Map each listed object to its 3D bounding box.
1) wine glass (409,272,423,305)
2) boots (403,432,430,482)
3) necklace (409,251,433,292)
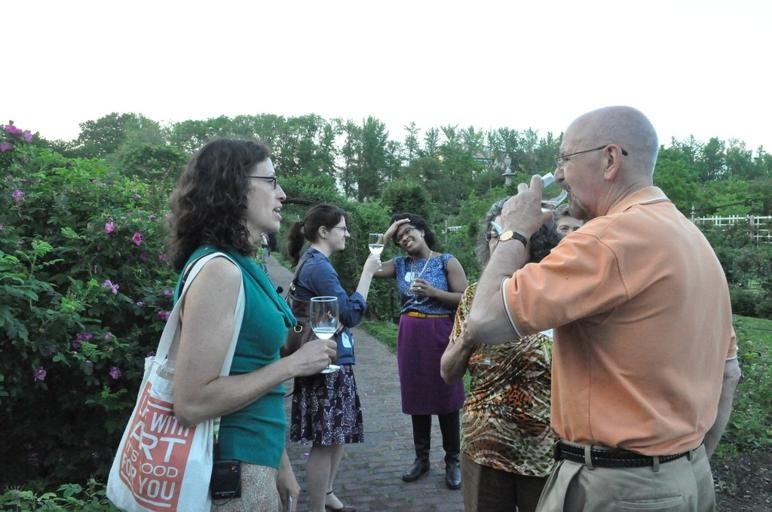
[{"bbox_3d":[0.306,0.342,6.167,0.098,0.262,0.199,2,3,15],"label":"wine glass"},{"bbox_3d":[0.328,2.068,5.978,0.202,0.456,0.375,-2,-7,27],"label":"boots"},{"bbox_3d":[0.358,0.158,6.243,0.151,0.488,0.067,0,-44,34],"label":"necklace"}]
